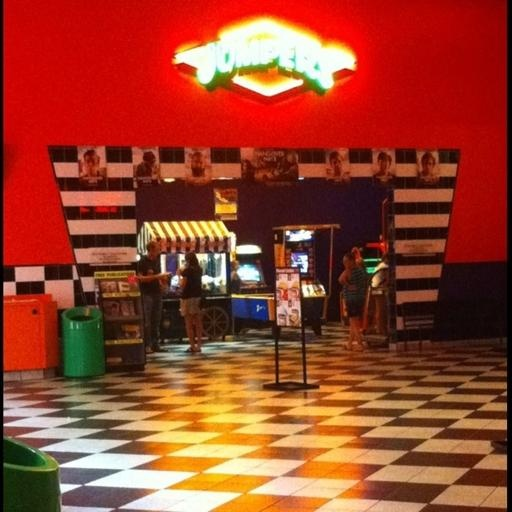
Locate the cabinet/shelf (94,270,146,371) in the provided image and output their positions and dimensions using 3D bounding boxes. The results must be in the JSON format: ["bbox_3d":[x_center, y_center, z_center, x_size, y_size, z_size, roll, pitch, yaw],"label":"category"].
[{"bbox_3d":[-1.763,0.847,8.569,0.509,1.375,0.359,0,-14,-25],"label":"cabinet/shelf"}]

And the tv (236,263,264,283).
[{"bbox_3d":[-0.115,0.365,14.166,0.562,0.369,0.425,3,2,-8],"label":"tv"}]

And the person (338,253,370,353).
[{"bbox_3d":[1.449,0.673,9.744,0.378,1.419,0.530,-3,3,9],"label":"person"}]

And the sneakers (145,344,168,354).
[{"bbox_3d":[-1.532,1.430,10.117,0.347,0.172,0.113,-2,2,-12],"label":"sneakers"}]

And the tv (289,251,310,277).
[{"bbox_3d":[0.862,0.113,13.175,0.505,0.665,0.078,0,2,-37],"label":"tv"}]

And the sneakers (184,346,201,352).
[{"bbox_3d":[-0.952,1.444,10.161,0.188,0.078,0.104,6,-8,-35],"label":"sneakers"}]

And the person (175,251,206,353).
[{"bbox_3d":[-0.996,0.716,10.147,0.344,1.527,0.343,-3,3,-8],"label":"person"}]

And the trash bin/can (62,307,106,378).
[{"bbox_3d":[-2.145,1.083,8.207,0.486,0.810,0.465,0,-1,3],"label":"trash bin/can"}]

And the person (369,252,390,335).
[{"bbox_3d":[2.072,0.685,11.161,0.320,1.454,1.251,-3,3,9],"label":"person"}]

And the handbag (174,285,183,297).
[{"bbox_3d":[-1.347,0.608,11.396,0.149,0.072,0.227,2,33,-5],"label":"handbag"}]
